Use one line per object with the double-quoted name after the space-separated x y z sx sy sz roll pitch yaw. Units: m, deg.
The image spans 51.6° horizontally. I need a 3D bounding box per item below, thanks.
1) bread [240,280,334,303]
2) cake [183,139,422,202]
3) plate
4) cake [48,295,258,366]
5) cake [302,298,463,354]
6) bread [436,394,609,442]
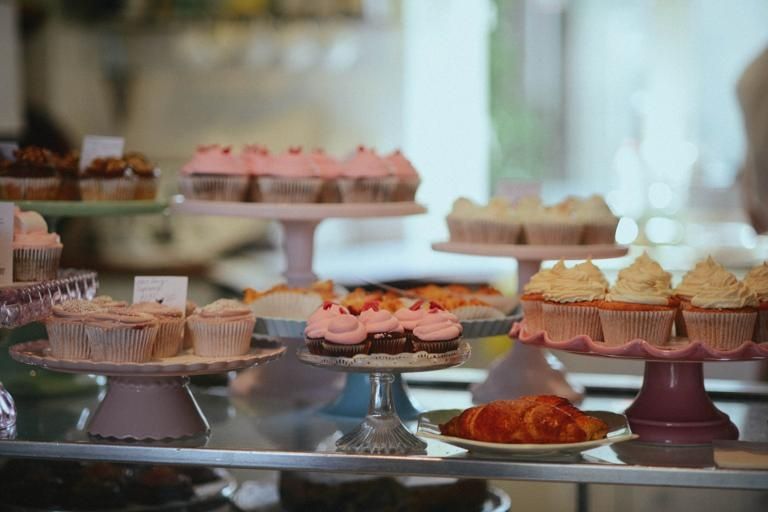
-0.277 0.106 2.348 0.267 0.048 0.234 -1 5 -5 "bread"
-0.249 -0.238 2.316 0.689 0.171 0.215 0 6 4 "cake"
0.281 0.393 1.683 0.445 0.037 0.430 -9 -18 22 "plate"
-0.634 0.186 1.953 0.327 0.097 0.229 3 -2 -4 "cake"
-0.004 0.173 1.923 0.374 0.118 0.150 -1 6 -6 "cake"
0.316 0.377 1.830 0.390 0.079 0.153 0 6 11 "bread"
